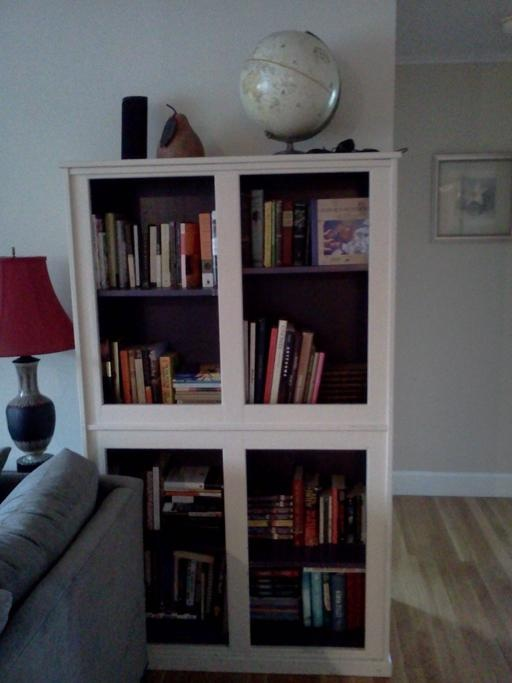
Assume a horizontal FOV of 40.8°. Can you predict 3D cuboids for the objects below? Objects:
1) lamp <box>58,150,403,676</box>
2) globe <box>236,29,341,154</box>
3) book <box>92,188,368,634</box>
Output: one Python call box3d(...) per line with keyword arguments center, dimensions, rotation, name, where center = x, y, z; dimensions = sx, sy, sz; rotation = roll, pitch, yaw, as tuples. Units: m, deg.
box3d(center=(0.013, 0.609, 2.752), dimensions=(1.252, 2.423, 0.633), rotation=(0, 4, 5), name="lamp")
box3d(center=(0.098, -0.735, 2.011), dimensions=(0.287, 0.318, 0.168), rotation=(-1, 11, 4), name="globe")
box3d(center=(-0.131, 0.166, 1.793), dimensions=(0.735, 1.471, 0.331), rotation=(3, 9, 2), name="book")
